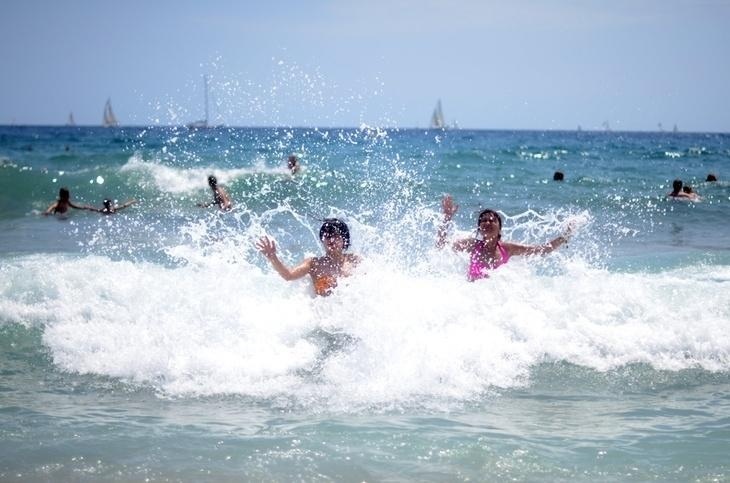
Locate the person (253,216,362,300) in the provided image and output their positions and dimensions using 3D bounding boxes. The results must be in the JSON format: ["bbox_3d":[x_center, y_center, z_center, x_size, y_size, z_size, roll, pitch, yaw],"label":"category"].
[{"bbox_3d":[-0.883,0.306,12.878,1.490,0.413,1.242,-6,41,-11],"label":"person"}]

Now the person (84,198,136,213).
[{"bbox_3d":[-5.884,-0.816,19.705,1.233,0.328,1.236,1,5,-10],"label":"person"}]

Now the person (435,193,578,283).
[{"bbox_3d":[2.374,-0.019,14.104,1.630,1.796,0.476,3,-11,-3],"label":"person"}]

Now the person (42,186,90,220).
[{"bbox_3d":[-7.246,-0.893,20.140,0.950,0.906,0.270,-3,-11,-45],"label":"person"}]

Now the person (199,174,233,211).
[{"bbox_3d":[-3.698,-1.176,20.605,0.600,0.394,1.013,11,-28,5],"label":"person"}]
